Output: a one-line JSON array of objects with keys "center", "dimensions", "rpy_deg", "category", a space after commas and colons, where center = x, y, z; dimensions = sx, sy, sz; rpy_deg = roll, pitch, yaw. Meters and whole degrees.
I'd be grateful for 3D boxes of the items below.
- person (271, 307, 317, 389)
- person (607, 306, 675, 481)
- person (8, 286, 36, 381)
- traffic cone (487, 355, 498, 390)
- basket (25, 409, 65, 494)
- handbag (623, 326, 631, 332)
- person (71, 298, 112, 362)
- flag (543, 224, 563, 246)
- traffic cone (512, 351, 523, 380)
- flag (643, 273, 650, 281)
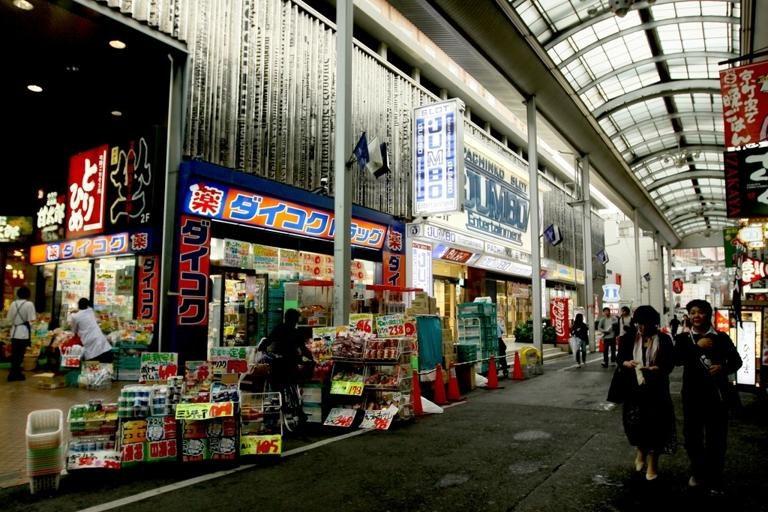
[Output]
[{"center": [-1.769, 1.799, 11.951], "dimensions": [0.835, 1.476, 0.627], "rpy_deg": [-2, 7, -13], "category": "person"}, {"center": [4.281, 2.198, 9.960], "dimensions": [0.719, 2.747, 0.937], "rpy_deg": [-7, 10, -43], "category": "person"}, {"center": [-9.391, 1.974, 15.751], "dimensions": [0.709, 2.406, 1.309], "rpy_deg": [-5, 8, -31], "category": "person"}, {"center": [2.889, 3.052, 15.909], "dimensions": [0.294, 0.814, 0.769], "rpy_deg": [1, 7, 10], "category": "traffic cone"}, {"center": [-5.385, 3.126, 9.716], "dimensions": [0.530, 1.178, 0.532], "rpy_deg": [-4, 8, -30], "category": "basket"}, {"center": [4.126, 1.236, 10.285], "dimensions": [0.109, 0.065, 0.131], "rpy_deg": [0, -13, 2], "category": "handbag"}, {"center": [-7.015, 1.867, 14.664], "dimensions": [0.844, 1.701, 0.841], "rpy_deg": [-4, 8, -25], "category": "person"}, {"center": [7.255, -0.862, 25.344], "dimensions": [0.413, 0.888, 1.222], "rpy_deg": [-20, -15, 8], "category": "flag"}, {"center": [3.893, 3.190, 17.506], "dimensions": [0.318, 0.653, 0.882], "rpy_deg": [1, 7, 13], "category": "traffic cone"}, {"center": [18.015, 1.414, 41.544], "dimensions": [0.462, 0.643, 0.114], "rpy_deg": [14, 7, -43], "category": "flag"}]
